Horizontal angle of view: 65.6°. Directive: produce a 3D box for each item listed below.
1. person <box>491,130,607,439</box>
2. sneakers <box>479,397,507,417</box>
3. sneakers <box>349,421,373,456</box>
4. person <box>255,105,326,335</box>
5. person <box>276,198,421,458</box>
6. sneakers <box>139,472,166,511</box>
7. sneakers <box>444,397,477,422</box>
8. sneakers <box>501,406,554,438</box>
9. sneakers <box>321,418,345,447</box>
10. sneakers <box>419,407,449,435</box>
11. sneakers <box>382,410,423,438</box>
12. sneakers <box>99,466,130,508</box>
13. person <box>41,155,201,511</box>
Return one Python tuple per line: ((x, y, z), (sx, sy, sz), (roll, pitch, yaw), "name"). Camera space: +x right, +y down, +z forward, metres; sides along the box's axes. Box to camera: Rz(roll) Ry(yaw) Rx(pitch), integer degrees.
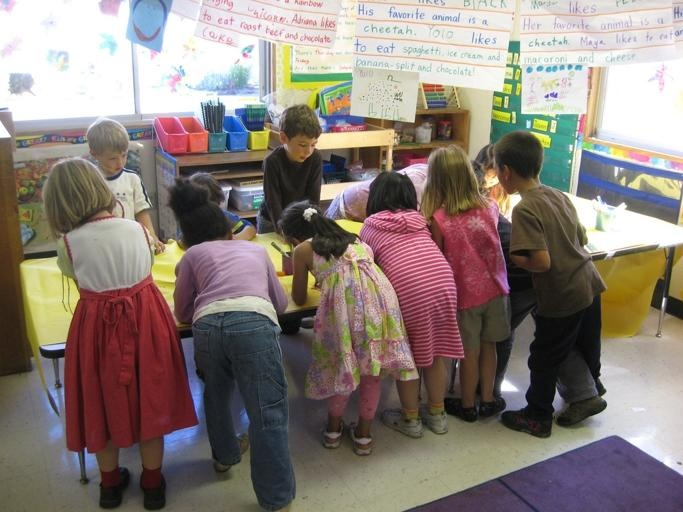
((1.097, 0.158, 2.735), (0.619, 1.553, 0.336), (-5, 17, -12), "person")
((0.829, 0.822, 2.936), (0.187, 0.080, 0.071), (-15, 19, -41), "sneakers")
((0.097, 0.921, 2.655), (0.078, 0.089, 0.193), (-3, 17, -9), "sneakers")
((-0.309, -0.221, 3.166), (0.317, 1.285, 0.444), (4, 1, -8), "person")
((0.048, 0.381, 2.533), (0.639, 1.228, 0.384), (-1, 17, 0), "person")
((-0.817, 1.036, 2.310), (0.090, 0.057, 0.183), (-3, 17, -14), "sneakers")
((0.652, 0.849, 2.965), (0.085, 0.088, 0.203), (-8, 18, -28), "sneakers")
((0.981, 0.891, 2.878), (0.279, 0.129, 0.119), (17, 17, 29), "sneakers")
((-0.043, 0.883, 2.688), (0.076, 0.076, 0.177), (0, 17, -2), "sneakers")
((0.497, 0.884, 2.846), (0.075, 0.087, 0.191), (-2, 3, -20), "sneakers")
((0.318, 0.882, 2.840), (0.100, 0.105, 0.232), (-11, 22, -39), "sneakers")
((-0.985, 1.009, 2.361), (0.082, 0.091, 0.220), (-2, 13, -9), "sneakers")
((-0.916, 0.200, 2.178), (0.510, 1.153, 0.359), (-7, 18, -20), "person")
